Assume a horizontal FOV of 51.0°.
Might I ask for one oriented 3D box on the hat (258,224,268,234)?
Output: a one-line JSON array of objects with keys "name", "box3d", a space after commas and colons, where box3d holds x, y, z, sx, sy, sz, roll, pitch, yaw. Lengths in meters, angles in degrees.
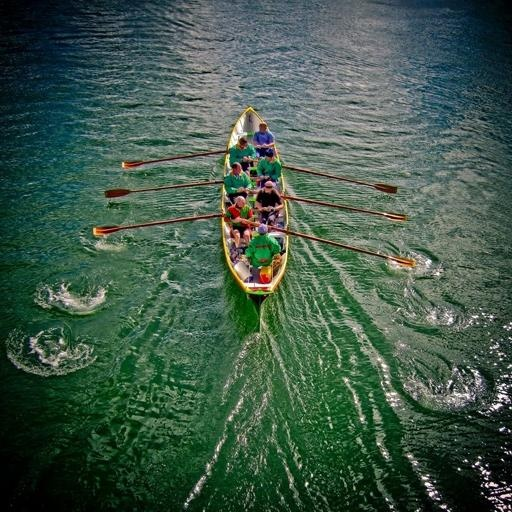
[{"name": "hat", "box3d": [0.242, -0.900, 17.785, 0.287, 0.207, 0.332, -1, 36, 1]}]
